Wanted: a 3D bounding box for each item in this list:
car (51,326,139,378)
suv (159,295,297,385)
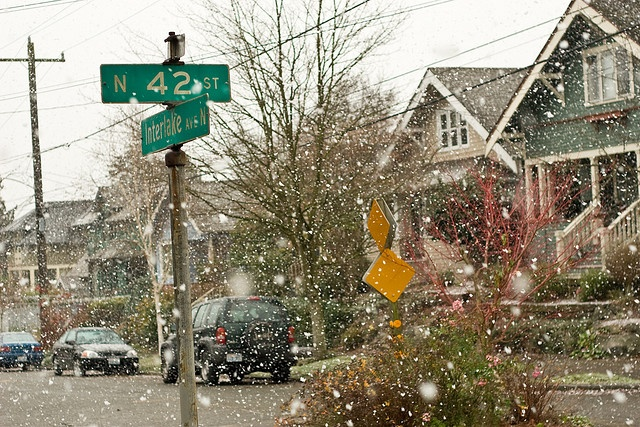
[{"bbox_3d":[-8.823,5.315,40.147,1.697,1.345,3.026,4,-11,-28],"label":"car"},{"bbox_3d":[-3.071,4.072,34.705,2.237,2.027,3.969,2,-4,-27],"label":"suv"}]
